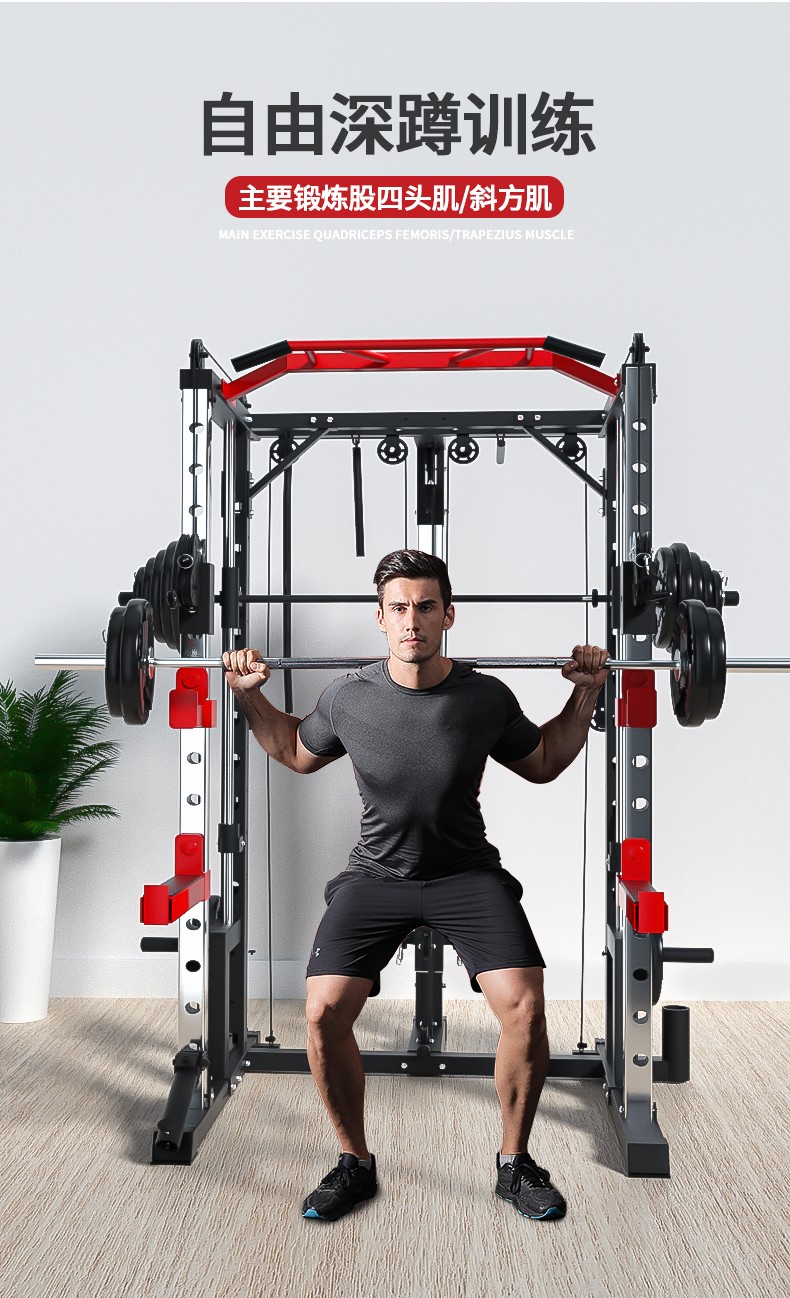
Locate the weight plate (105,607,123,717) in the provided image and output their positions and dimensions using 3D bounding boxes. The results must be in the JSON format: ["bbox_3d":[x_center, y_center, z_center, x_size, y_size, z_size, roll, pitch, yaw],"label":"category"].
[{"bbox_3d":[-0.433,0.015,1.721,0.026,0.166,0.122,1,-3,-14],"label":"weight plate"}]

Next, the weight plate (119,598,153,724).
[{"bbox_3d":[-0.403,0.018,1.754,0.048,0.192,0.176,1,-3,-13],"label":"weight plate"}]

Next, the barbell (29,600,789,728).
[{"bbox_3d":[0.039,0.023,1.907,1.198,0.190,0.554,0,-2,5],"label":"barbell"}]

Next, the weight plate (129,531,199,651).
[{"bbox_3d":[-0.367,-0.097,1.846,0.073,0.129,0.224,1,2,-6],"label":"weight plate"}]

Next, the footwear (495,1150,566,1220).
[{"bbox_3d":[0.195,0.778,1.629,0.048,0.066,0.133,1,-16,-19],"label":"footwear"}]

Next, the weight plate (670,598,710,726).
[{"bbox_3d":[0.462,0.018,1.706,0.063,0.189,0.220,0,-2,10],"label":"weight plate"}]

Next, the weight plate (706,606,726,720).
[{"bbox_3d":[0.475,0.018,1.652,0.025,0.160,0.118,-1,-3,14],"label":"weight plate"}]

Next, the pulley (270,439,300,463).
[{"bbox_3d":[-0.232,-0.411,2.325,0.052,0.062,0.017,0,-4,25],"label":"pulley"}]

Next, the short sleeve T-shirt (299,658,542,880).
[{"bbox_3d":[0.045,0.226,1.834,0.454,0.438,0.183,1,-4,3],"label":"short sleeve T-shirt"}]

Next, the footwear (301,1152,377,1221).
[{"bbox_3d":[-0.073,0.774,1.636,0.047,0.070,0.141,-8,-7,27],"label":"footwear"}]
